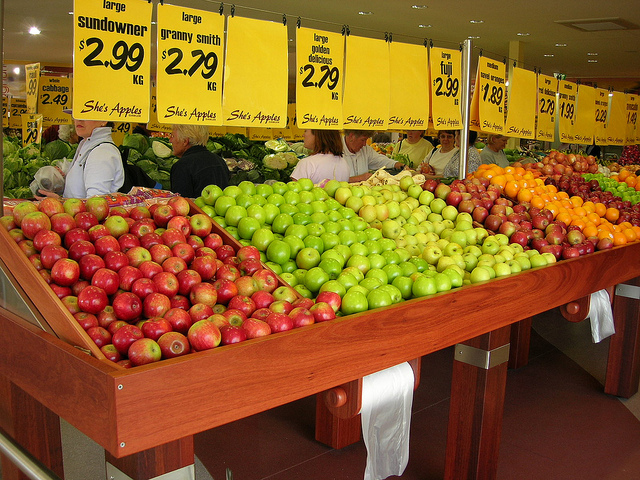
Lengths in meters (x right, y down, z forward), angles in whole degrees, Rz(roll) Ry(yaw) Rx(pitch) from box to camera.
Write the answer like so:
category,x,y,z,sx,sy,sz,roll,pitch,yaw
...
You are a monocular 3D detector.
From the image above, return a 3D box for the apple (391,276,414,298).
category,x,y,z,sx,sy,sz,roll,pitch,yaw
apple,0.361,0.203,1.994,0.078,0.088,0.081,-1,4,-30

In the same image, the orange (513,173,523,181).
category,x,y,z,sx,sy,sz,roll,pitch,yaw
orange,1.477,-0.477,3.408,0.048,0.027,0.053,2,32,-2

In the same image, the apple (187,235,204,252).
category,x,y,z,sx,sy,sz,roll,pitch,yaw
apple,-0.509,0.008,1.861,0.052,0.059,0.057,14,9,0

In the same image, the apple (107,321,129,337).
category,x,y,z,sx,sy,sz,roll,pitch,yaw
apple,-0.639,0.279,1.449,0.049,0.053,0.052,-5,1,29

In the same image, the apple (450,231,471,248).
category,x,y,z,sx,sy,sz,roll,pitch,yaw
apple,0.773,-0.011,2.536,0.084,0.106,0.078,-31,25,-28

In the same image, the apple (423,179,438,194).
category,x,y,z,sx,sy,sz,roll,pitch,yaw
apple,0.709,-0.349,2.939,0.073,0.101,0.078,-3,12,-15

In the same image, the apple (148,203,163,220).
category,x,y,z,sx,sy,sz,roll,pitch,yaw
apple,-0.715,-0.125,1.991,0.052,0.073,0.056,4,-8,24

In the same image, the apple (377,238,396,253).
category,x,y,z,sx,sy,sz,roll,pitch,yaw
apple,0.338,0.022,2.304,0.062,0.085,0.065,7,-22,-19

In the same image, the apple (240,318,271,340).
category,x,y,z,sx,sy,sz,roll,pitch,yaw
apple,-0.209,0.276,1.428,0.057,0.065,0.063,4,-5,16

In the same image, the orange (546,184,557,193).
category,x,y,z,sx,sy,sz,roll,pitch,yaw
orange,1.782,-0.385,3.496,0.070,0.054,0.091,14,15,18

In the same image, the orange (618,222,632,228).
category,x,y,z,sx,sy,sz,roll,pitch,yaw
orange,2.227,-0.117,3.299,0.042,0.047,0.045,2,12,10

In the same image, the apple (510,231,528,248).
category,x,y,z,sx,sy,sz,roll,pitch,yaw
apple,1.162,-0.013,2.673,0.078,0.111,0.086,7,29,13

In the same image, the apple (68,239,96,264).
category,x,y,z,sx,sy,sz,roll,pitch,yaw
apple,-0.833,0.039,1.602,0.068,0.078,0.074,-1,0,8

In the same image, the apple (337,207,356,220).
category,x,y,z,sx,sy,sz,roll,pitch,yaw
apple,0.143,-0.152,2.417,0.058,0.043,0.075,11,14,16

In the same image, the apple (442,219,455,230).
category,x,y,z,sx,sy,sz,roll,pitch,yaw
apple,0.768,-0.094,2.725,0.051,0.064,0.050,20,-37,-36

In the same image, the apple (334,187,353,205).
category,x,y,z,sx,sy,sz,roll,pitch,yaw
apple,0.130,-0.247,2.588,0.084,0.118,0.089,1,-3,-11

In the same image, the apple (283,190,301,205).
category,x,y,z,sx,sy,sz,roll,pitch,yaw
apple,-0.142,-0.218,2.342,0.063,0.085,0.070,-8,-11,-6

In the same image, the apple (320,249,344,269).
category,x,y,z,sx,sy,sz,roll,pitch,yaw
apple,0.052,0.071,2.087,0.079,0.084,0.080,23,-4,-23

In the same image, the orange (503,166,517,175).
category,x,y,z,sx,sy,sz,roll,pitch,yaw
orange,1.455,-0.542,3.505,0.056,0.042,0.068,10,-1,-32

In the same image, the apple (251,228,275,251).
category,x,y,z,sx,sy,sz,roll,pitch,yaw
apple,-0.259,-0.005,2.032,0.083,0.096,0.092,0,10,-1

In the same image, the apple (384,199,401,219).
category,x,y,z,sx,sy,sz,roll,pitch,yaw
apple,0.417,-0.177,2.647,0.087,0.119,0.095,3,-22,-17

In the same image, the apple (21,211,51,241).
category,x,y,z,sx,sy,sz,roll,pitch,yaw
apple,-1.020,-0.053,1.672,0.087,0.104,0.095,-1,3,13

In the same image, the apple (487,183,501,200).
category,x,y,z,sx,sy,sz,roll,pitch,yaw
apple,1.229,-0.344,3.208,0.107,0.152,0.121,3,7,12

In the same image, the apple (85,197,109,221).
category,x,y,z,sx,sy,sz,roll,pitch,yaw
apple,-0.880,-0.136,1.823,0.082,0.095,0.085,10,19,43

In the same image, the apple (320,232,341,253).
category,x,y,z,sx,sy,sz,roll,pitch,yaw
apple,0.051,0.010,2.136,0.079,0.090,0.084,0,5,-3

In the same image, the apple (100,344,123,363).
category,x,y,z,sx,sy,sz,roll,pitch,yaw
apple,-0.619,0.337,1.348,0.045,0.047,0.046,-27,-30,-14

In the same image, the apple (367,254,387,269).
category,x,y,z,sx,sy,sz,roll,pitch,yaw
apple,0.267,0.096,2.113,0.060,0.067,0.065,-1,5,-2

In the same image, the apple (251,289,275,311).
category,x,y,z,sx,sy,sz,roll,pitch,yaw
apple,-0.209,0.215,1.645,0.062,0.065,0.063,31,14,23

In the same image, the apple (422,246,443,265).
category,x,y,z,sx,sy,sz,roll,pitch,yaw
apple,0.576,0.077,2.343,0.078,0.087,0.084,13,-31,-22

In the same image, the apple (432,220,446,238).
category,x,y,z,sx,sy,sz,roll,pitch,yaw
apple,0.706,-0.070,2.718,0.069,0.090,0.074,-24,-26,18

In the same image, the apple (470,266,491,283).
category,x,y,z,sx,sy,sz,roll,pitch,yaw
apple,0.755,0.169,2.161,0.110,0.059,0.096,-9,15,-40

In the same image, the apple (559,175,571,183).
category,x,y,z,sx,sy,sz,roll,pitch,yaw
apple,2.037,-0.517,3.787,0.083,0.054,0.091,-2,12,15

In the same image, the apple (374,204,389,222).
category,x,y,z,sx,sy,sz,roll,pitch,yaw
apple,0.348,-0.154,2.598,0.077,0.109,0.085,-1,-10,-4

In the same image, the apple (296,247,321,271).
category,x,y,z,sx,sy,sz,roll,pitch,yaw
apple,-0.052,0.082,2.066,0.086,0.094,0.090,-19,-32,33

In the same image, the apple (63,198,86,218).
category,x,y,z,sx,sy,sz,roll,pitch,yaw
apple,-0.956,-0.133,1.790,0.065,0.074,0.071,3,9,12

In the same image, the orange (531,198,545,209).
category,x,y,z,sx,sy,sz,roll,pitch,yaw
orange,1.504,-0.258,3.136,0.067,0.091,0.069,5,26,45

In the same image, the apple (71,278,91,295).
category,x,y,z,sx,sy,sz,roll,pitch,yaw
apple,-0.817,0.158,1.546,0.047,0.051,0.051,14,24,25

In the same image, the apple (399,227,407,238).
category,x,y,z,sx,sy,sz,roll,pitch,yaw
apple,0.454,-0.043,2.488,0.038,0.053,0.041,-6,2,18

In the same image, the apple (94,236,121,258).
category,x,y,z,sx,sy,sz,roll,pitch,yaw
apple,-0.765,0.020,1.644,0.070,0.075,0.073,-25,-24,23

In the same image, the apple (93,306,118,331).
category,x,y,z,sx,sy,sz,roll,pitch,yaw
apple,-0.694,0.253,1.474,0.057,0.062,0.062,19,2,2

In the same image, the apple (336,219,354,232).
category,x,y,z,sx,sy,sz,roll,pitch,yaw
apple,0.133,-0.076,2.285,0.056,0.076,0.060,-3,2,-6

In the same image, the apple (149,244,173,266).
category,x,y,z,sx,sy,sz,roll,pitch,yaw
apple,-0.599,0.050,1.702,0.069,0.077,0.073,5,9,30

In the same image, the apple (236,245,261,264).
category,x,y,z,sx,sy,sz,roll,pitch,yaw
apple,-0.298,0.062,1.865,0.066,0.075,0.072,-1,-4,-2

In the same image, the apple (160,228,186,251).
category,x,y,z,sx,sy,sz,roll,pitch,yaw
apple,-0.579,-0.009,1.788,0.075,0.081,0.074,-14,2,-44

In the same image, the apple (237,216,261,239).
category,x,y,z,sx,sy,sz,roll,pitch,yaw
apple,-0.332,-0.050,2.130,0.088,0.097,0.088,2,-10,-33

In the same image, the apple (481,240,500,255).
category,x,y,z,sx,sy,sz,roll,pitch,yaw
apple,0.933,0.040,2.498,0.074,0.078,0.076,-32,-32,-2

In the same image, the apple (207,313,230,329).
category,x,y,z,sx,sy,sz,roll,pitch,yaw
apple,-0.324,0.260,1.463,0.041,0.044,0.043,-9,33,-14

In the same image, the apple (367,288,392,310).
category,x,y,z,sx,sy,sz,roll,pitch,yaw
apple,0.231,0.236,1.807,0.069,0.077,0.089,13,42,-15

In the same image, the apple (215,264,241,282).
category,x,y,z,sx,sy,sz,roll,pitch,yaw
apple,-0.352,0.126,1.735,0.057,0.067,0.063,-2,-30,35

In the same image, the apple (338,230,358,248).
category,x,y,z,sx,sy,sz,roll,pitch,yaw
apple,0.129,-0.001,2.255,0.072,0.092,0.076,9,-32,-34

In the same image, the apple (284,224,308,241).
category,x,y,z,sx,sy,sz,roll,pitch,yaw
apple,-0.106,-0.033,2.117,0.070,0.080,0.075,1,0,-5

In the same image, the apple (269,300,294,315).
category,x,y,z,sx,sy,sz,roll,pitch,yaw
apple,-0.136,0.240,1.620,0.050,0.054,0.051,-18,7,-16

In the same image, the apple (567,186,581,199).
category,x,y,z,sx,sy,sz,roll,pitch,yaw
apple,2.010,-0.375,3.590,0.084,0.087,0.090,-3,4,-8

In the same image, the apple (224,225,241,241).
category,x,y,z,sx,sy,sz,roll,pitch,yaw
apple,-0.404,-0.036,2.108,0.055,0.068,0.061,-14,-18,9

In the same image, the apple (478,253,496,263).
category,x,y,z,sx,sy,sz,roll,pitch,yaw
apple,0.866,0.096,2.382,0.044,0.060,0.047,-3,-2,-8

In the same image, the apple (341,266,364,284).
category,x,y,z,sx,sy,sz,roll,pitch,yaw
apple,0.148,0.157,2.004,0.068,0.069,0.078,42,23,32

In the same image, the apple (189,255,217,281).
category,x,y,z,sx,sy,sz,roll,pitch,yaw
apple,-0.439,0.101,1.714,0.080,0.099,0.091,3,16,-1

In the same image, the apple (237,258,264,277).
category,x,y,z,sx,sy,sz,roll,pitch,yaw
apple,-0.276,0.107,1.780,0.067,0.073,0.068,7,-13,-34

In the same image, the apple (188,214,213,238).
category,x,y,z,sx,sy,sz,roll,pitch,yaw
apple,-0.514,-0.067,1.941,0.079,0.095,0.085,-4,-18,-8
